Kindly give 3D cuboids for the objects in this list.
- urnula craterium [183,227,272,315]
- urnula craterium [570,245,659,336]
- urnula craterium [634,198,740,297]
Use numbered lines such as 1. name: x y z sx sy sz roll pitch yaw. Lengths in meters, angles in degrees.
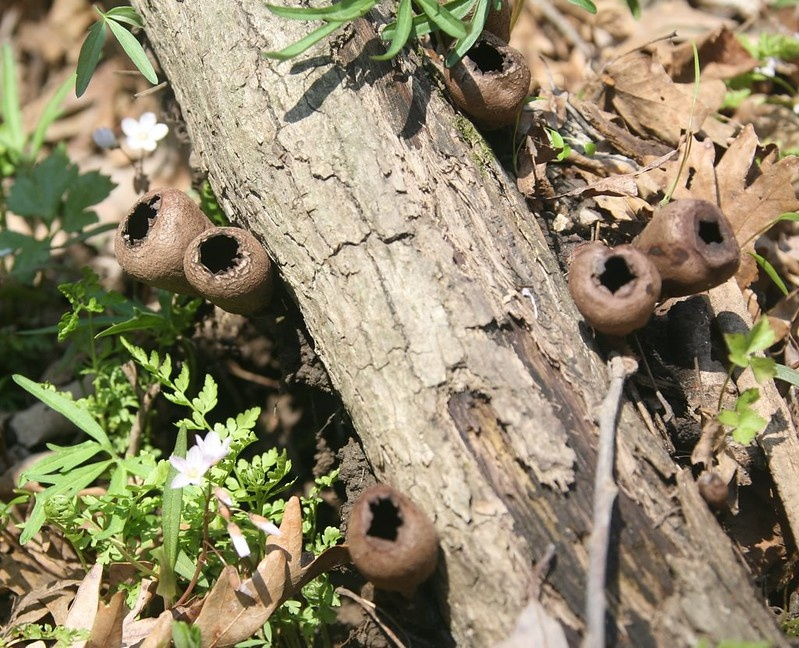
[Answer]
1. urnula craterium: -0.682 -0.220 3.533 0.281 0.428 0.319 21 71 6
2. urnula craterium: 0.773 -0.131 3.272 0.301 0.360 0.350 2 45 -7
3. urnula craterium: 1.090 -0.264 3.330 0.366 0.347 0.361 -16 4 -14
